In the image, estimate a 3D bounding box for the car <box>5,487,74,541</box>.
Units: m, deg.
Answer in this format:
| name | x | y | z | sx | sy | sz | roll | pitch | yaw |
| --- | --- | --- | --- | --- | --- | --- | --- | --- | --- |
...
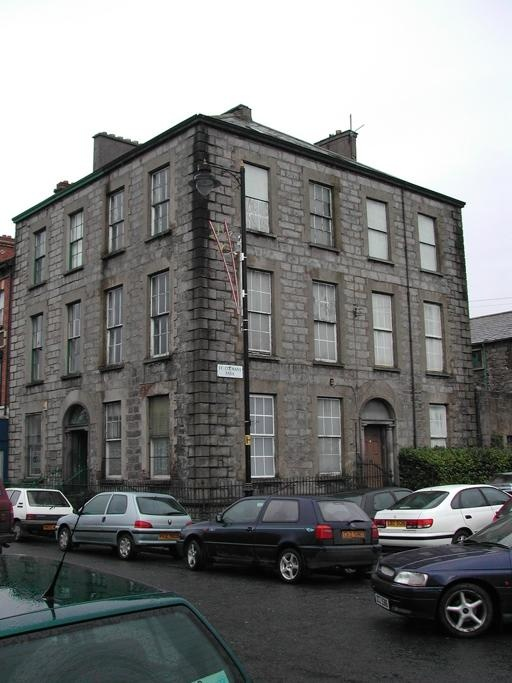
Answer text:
| name | x | y | z | sx | sy | sz | roll | pitch | yaw |
| --- | --- | --- | --- | --- | --- | --- | --- | --- | --- |
| car | -6.200 | 5.032 | 18.901 | 1.477 | 1.186 | 2.627 | 6 | -8 | -37 |
